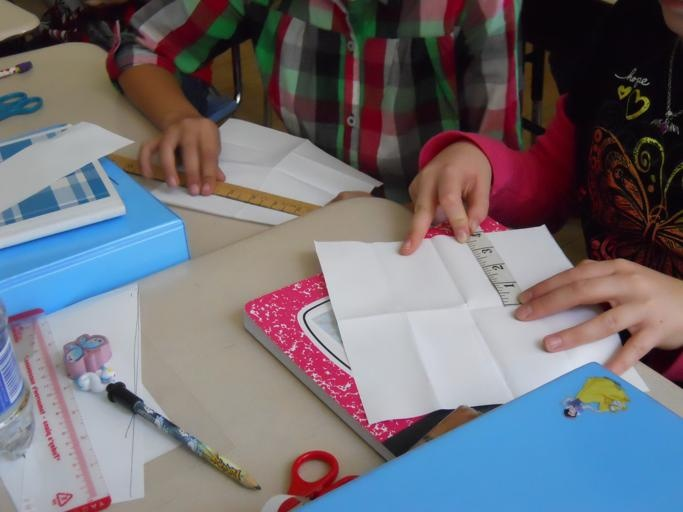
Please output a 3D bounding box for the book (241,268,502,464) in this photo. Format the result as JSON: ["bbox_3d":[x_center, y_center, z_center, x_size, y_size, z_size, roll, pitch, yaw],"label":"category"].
[{"bbox_3d":[0.044,0.135,0.768,0.303,0.042,0.329,26,25,22],"label":"book"}]

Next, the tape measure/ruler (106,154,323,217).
[{"bbox_3d":[-0.238,-0.128,0.980,0.295,0.012,0.045,24,54,8],"label":"tape measure/ruler"}]
